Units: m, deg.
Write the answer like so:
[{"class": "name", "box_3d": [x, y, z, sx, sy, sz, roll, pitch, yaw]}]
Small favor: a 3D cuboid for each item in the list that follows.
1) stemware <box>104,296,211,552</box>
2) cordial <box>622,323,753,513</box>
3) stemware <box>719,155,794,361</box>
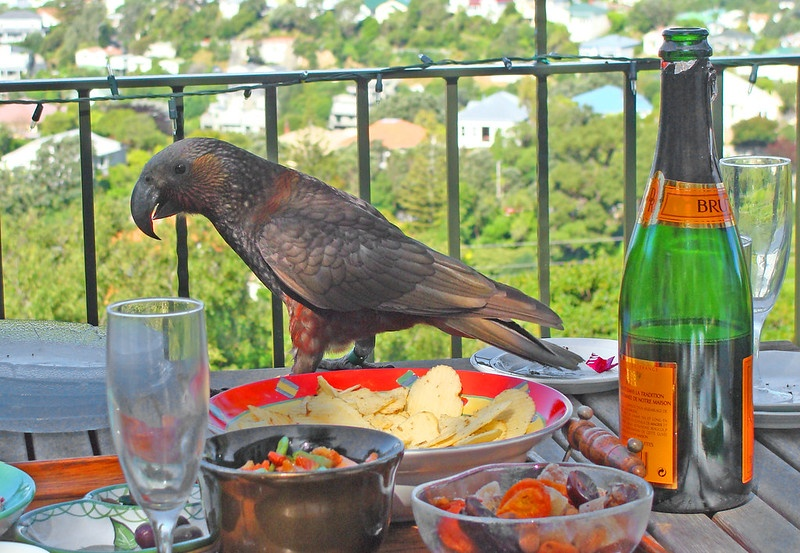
[{"class": "stemware", "box_3d": [-0.282, 0.152, 1.411, 0.125, 0.323, 0.103, -1, 1, -11]}, {"class": "cordial", "box_3d": [0.373, 0.188, 1.578, 0.166, 0.235, 0.061, -2, 6, 12]}, {"class": "stemware", "box_3d": [0.535, -0.059, 1.859, 0.096, 0.352, 0.108, 2, 13, 11]}]
